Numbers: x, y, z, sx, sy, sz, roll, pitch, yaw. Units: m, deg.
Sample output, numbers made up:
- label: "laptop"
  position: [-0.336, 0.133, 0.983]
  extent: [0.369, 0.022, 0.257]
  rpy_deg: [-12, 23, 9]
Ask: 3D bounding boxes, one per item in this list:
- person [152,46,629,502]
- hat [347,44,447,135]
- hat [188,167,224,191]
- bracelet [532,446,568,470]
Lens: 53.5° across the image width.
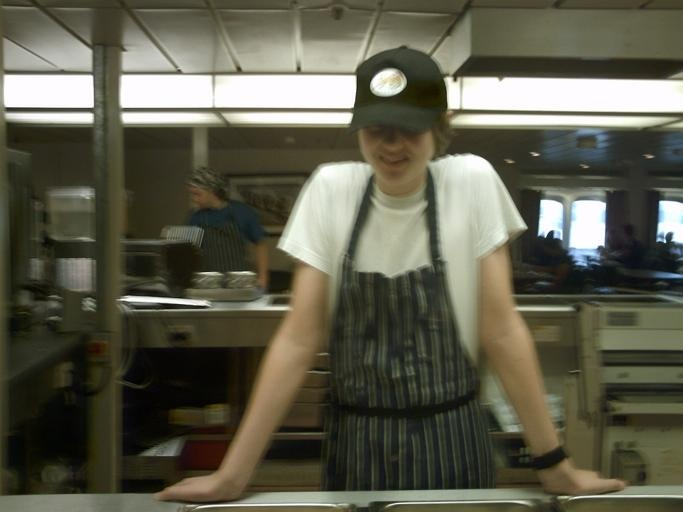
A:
- label: "person"
  position: [0.133, 0.067, 1.528]
  extent: [0.888, 1.034, 0.310]
  rpy_deg: [-1, 13, 0]
- label: "hat"
  position: [0.133, -0.387, 1.553]
  extent: [0.236, 0.154, 0.298]
  rpy_deg: [1, 26, 14]
- label: "hat"
  position: [-0.366, -0.206, 1.842]
  extent: [0.077, 0.048, 0.061]
  rpy_deg: [25, -6, -11]
- label: "bracelet"
  position: [0.461, 0.449, 1.506]
  extent: [0.060, 0.023, 0.051]
  rpy_deg: [-27, -13, 1]
